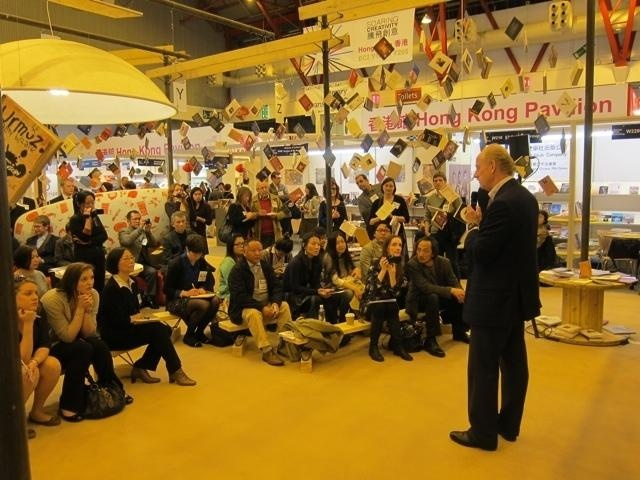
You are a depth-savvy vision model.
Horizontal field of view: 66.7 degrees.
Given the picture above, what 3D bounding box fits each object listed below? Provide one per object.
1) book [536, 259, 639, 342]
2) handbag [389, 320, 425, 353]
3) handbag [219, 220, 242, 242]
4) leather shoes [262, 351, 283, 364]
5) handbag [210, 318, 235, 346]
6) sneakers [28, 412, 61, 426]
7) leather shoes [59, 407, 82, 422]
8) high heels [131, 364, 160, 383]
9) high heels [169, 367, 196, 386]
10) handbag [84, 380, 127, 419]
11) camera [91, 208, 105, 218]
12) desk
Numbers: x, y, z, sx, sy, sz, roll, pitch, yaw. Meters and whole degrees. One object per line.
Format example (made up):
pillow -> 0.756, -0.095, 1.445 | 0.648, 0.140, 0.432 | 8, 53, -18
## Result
book -> 3.066, 0.751, 5.765 | 0.889, 0.677, 0.930 | 1, 3, 22
handbag -> 1.018, 1.088, 5.554 | 0.285, 0.401, 0.380 | 2, -5, -25
handbag -> -1.332, -0.136, 7.321 | 0.353, 0.388, 0.177 | 13, 15, 43
leather shoes -> -0.523, 1.280, 5.337 | 0.098, 0.116, 0.268 | -2, -1, -38
handbag -> -1.194, 1.104, 5.830 | 0.241, 0.352, 0.328 | 3, -8, -41
sneakers -> -2.347, 1.520, 4.185 | 0.281, 0.079, 0.105 | 0, -1, 16
leather shoes -> -2.147, 1.502, 4.208 | 0.221, 0.103, 0.073 | 1, 10, 10
high heels -> -1.704, 1.364, 4.982 | 0.354, 0.203, 0.123 | 1, -3, -11
high heels -> -1.365, 1.364, 4.910 | 0.307, 0.229, 0.125 | 2, -4, 10
handbag -> -1.900, 1.404, 4.311 | 0.335, 0.255, 0.220 | -6, 11, -25
camera -> -3.133, -0.388, 6.920 | 0.188, 0.153, 0.446 | -5, 4, -17
desk -> 3.064, 0.844, 5.757 | 0.886, 0.680, 0.932 | 0, 4, 9
